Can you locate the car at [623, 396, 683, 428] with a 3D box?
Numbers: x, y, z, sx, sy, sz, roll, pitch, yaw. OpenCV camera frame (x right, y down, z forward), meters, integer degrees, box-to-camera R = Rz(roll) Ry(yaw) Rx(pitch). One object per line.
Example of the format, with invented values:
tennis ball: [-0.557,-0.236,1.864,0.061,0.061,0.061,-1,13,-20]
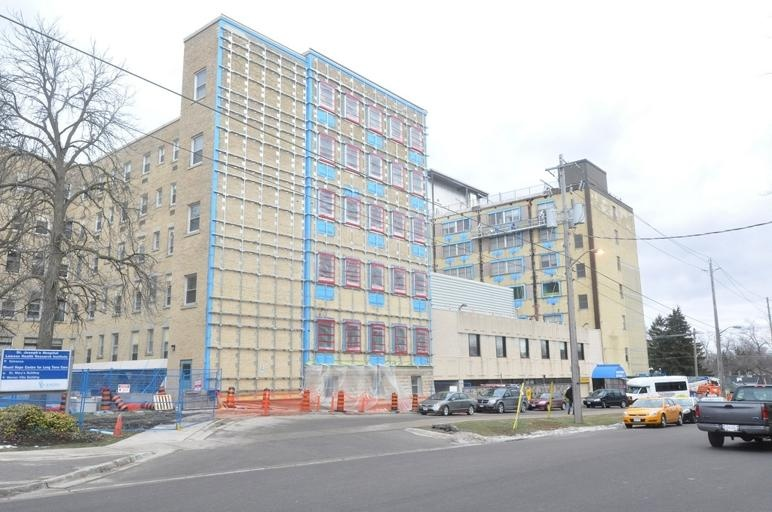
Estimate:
car: [14.539,8.484,34.768,3.328,1.675,1.678,10,-20,-34]

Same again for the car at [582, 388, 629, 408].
car: [19.315,12.369,55.914,2.975,1.222,1.671,1,-12,5]

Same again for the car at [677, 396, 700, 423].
car: [17.721,8.954,37.301,1.062,0.805,2.332,-10,-20,32]

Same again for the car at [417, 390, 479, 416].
car: [4.170,9.597,41.605,4.325,1.593,1.284,13,-21,-39]

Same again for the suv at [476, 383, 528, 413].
suv: [8.235,10.360,46.169,3.656,1.891,1.440,10,-20,-33]
